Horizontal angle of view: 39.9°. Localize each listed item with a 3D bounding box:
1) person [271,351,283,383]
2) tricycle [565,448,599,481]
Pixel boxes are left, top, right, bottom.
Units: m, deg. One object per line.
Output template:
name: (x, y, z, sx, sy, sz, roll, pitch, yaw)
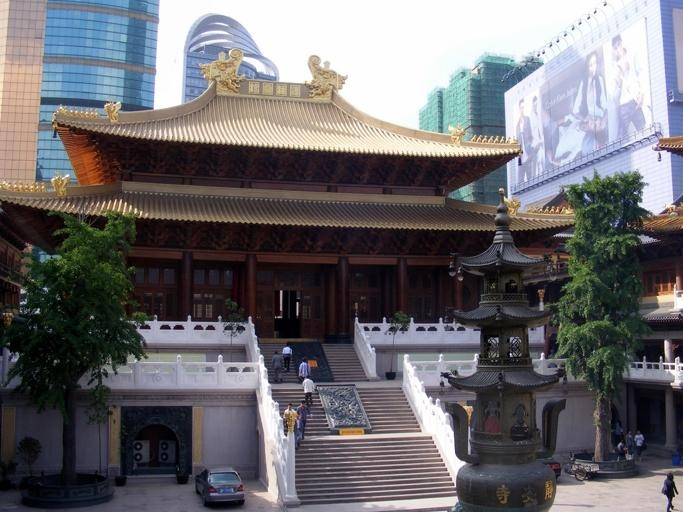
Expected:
person: (-3.343, 5.824, 48.911, 0.591, 1.461, 1.588, -1, -9, -4)
tricycle: (12.003, 10.569, 47.316, 1.531, 1.193, 2.206, -4, -9, 11)
